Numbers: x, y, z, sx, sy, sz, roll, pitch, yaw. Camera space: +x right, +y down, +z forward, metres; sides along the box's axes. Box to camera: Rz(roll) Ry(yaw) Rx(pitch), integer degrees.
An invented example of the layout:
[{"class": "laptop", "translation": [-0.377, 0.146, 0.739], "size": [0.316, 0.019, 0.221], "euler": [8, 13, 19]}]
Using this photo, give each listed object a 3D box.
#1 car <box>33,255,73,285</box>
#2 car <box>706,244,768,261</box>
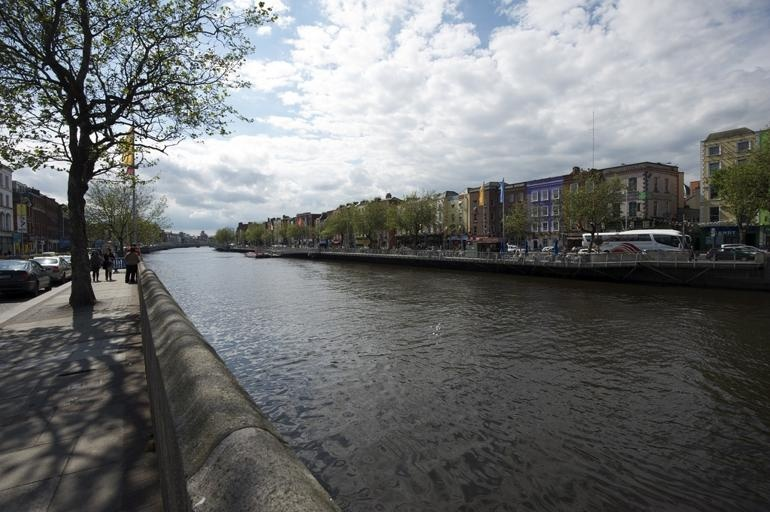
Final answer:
[{"class": "car", "translation": [-21.098, 1.221, 29.488], "size": [2.439, 1.713, 5.749], "euler": [1, 1, -36]}, {"class": "car", "translation": [27.519, -0.326, 36.550], "size": [2.811, 0.763, 1.659], "euler": [-3, 3, 35]}]
